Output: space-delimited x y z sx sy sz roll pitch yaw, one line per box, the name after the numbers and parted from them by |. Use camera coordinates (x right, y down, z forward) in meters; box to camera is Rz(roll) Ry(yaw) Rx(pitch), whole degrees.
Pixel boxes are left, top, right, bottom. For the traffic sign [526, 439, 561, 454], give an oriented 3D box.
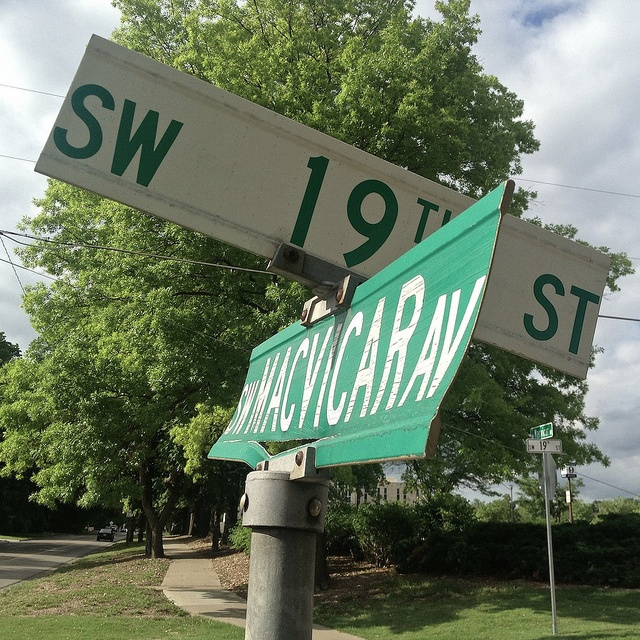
3.107 1.730 9.134 0.423 0.217 0.346 -6 -20 25 | traffic sign

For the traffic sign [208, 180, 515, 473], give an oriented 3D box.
0.174 0.100 2.546 0.222 0.925 1.324 14 -21 -33 | traffic sign

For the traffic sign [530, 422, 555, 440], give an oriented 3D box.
3.133 1.560 9.298 0.304 0.281 0.739 -3 -20 19 | traffic sign

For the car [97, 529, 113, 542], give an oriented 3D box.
-15.129 15.197 46.864 0.977 0.939 1.922 10 -20 -21 | car
